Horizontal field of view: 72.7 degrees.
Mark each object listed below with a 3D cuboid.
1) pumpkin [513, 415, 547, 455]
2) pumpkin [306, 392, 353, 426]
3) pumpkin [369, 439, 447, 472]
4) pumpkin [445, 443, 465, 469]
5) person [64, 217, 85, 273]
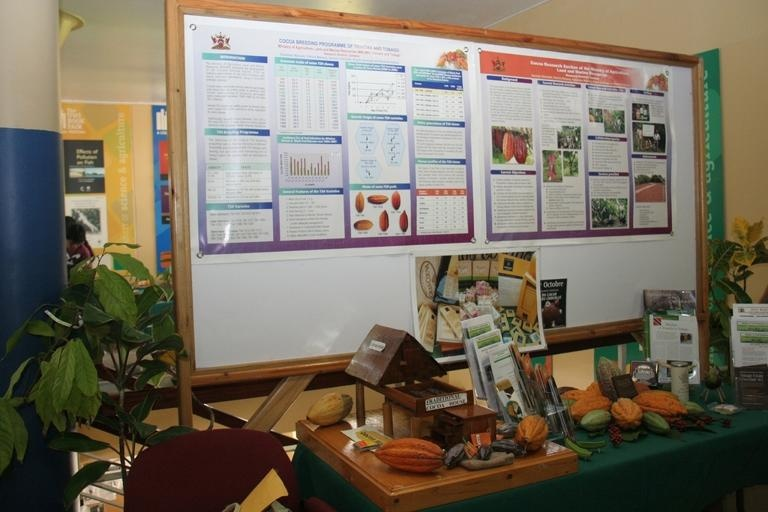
[{"bbox_3d":[0.682,0.829,2.420,0.141,0.134,0.151,0,6,12],"label":"pumpkin"},{"bbox_3d":[-0.276,0.793,2.754,0.145,0.127,0.206,-17,3,45],"label":"pumpkin"},{"bbox_3d":[0.117,0.853,2.306,0.273,0.145,0.131,3,3,8],"label":"pumpkin"},{"bbox_3d":[0.311,0.878,2.289,0.067,0.028,0.094,11,55,51],"label":"pumpkin"},{"bbox_3d":[-3.141,-0.160,5.311,0.173,0.479,1.393,-4,7,-30],"label":"person"}]
